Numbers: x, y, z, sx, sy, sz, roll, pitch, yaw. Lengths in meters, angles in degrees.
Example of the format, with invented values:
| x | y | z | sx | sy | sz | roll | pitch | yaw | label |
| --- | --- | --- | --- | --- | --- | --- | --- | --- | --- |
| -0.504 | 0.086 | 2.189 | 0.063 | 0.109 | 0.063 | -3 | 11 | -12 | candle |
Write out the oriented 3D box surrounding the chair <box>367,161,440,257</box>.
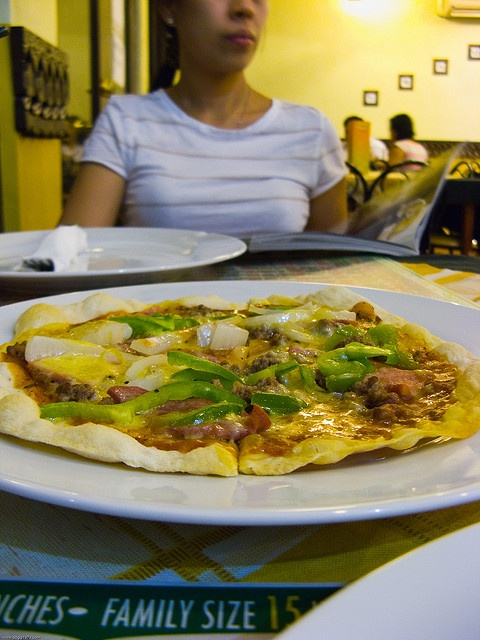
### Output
| x | y | z | sx | sy | sz | roll | pitch | yaw | label |
| --- | --- | --- | --- | --- | --- | --- | --- | --- | --- |
| 1.942 | -1.387 | 6.481 | 0.793 | 0.944 | 1.244 | 9 | 14 | 20 | chair |

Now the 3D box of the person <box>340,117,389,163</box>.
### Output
| x | y | z | sx | sy | sz | roll | pitch | yaw | label |
| --- | --- | --- | --- | --- | --- | --- | --- | --- | --- |
| 1.733 | -2.387 | 7.266 | 0.236 | 0.675 | 0.559 | -20 | -5 | 33 | person |

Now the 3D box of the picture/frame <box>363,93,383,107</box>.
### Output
| x | y | z | sx | sy | sz | roll | pitch | yaw | label |
| --- | --- | --- | --- | --- | --- | --- | --- | --- | --- |
| 1.761 | -2.989 | 7.399 | 0.248 | 0.217 | 0.053 | -3 | 16 | -26 | picture/frame |

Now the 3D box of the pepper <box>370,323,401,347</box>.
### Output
| x | y | z | sx | sy | sz | roll | pitch | yaw | label |
| --- | --- | --- | --- | --- | --- | --- | --- | --- | --- |
| 0.363 | 0.039 | 1.393 | 0.063 | 0.018 | 0.060 | 2 | 18 | 6 | pepper |

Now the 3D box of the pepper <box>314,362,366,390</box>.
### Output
| x | y | z | sx | sy | sz | roll | pitch | yaw | label |
| --- | --- | --- | --- | --- | --- | --- | --- | --- | --- |
| 0.219 | 0.117 | 1.190 | 0.078 | 0.025 | 0.066 | -11 | 15 | -22 | pepper |

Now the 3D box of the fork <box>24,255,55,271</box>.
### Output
| x | y | z | sx | sy | sz | roll | pitch | yaw | label |
| --- | --- | --- | --- | --- | --- | --- | --- | --- | --- |
| -0.660 | -0.182 | 1.815 | 0.067 | 0.018 | 0.061 | 7 | 15 | 11 | fork |

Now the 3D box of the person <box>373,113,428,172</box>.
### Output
| x | y | z | sx | sy | sz | roll | pitch | yaw | label |
| --- | --- | --- | --- | --- | --- | --- | --- | --- | --- |
| 2.158 | -2.359 | 7.437 | 0.555 | 0.722 | 0.556 | 15 | 28 | 21 | person |
